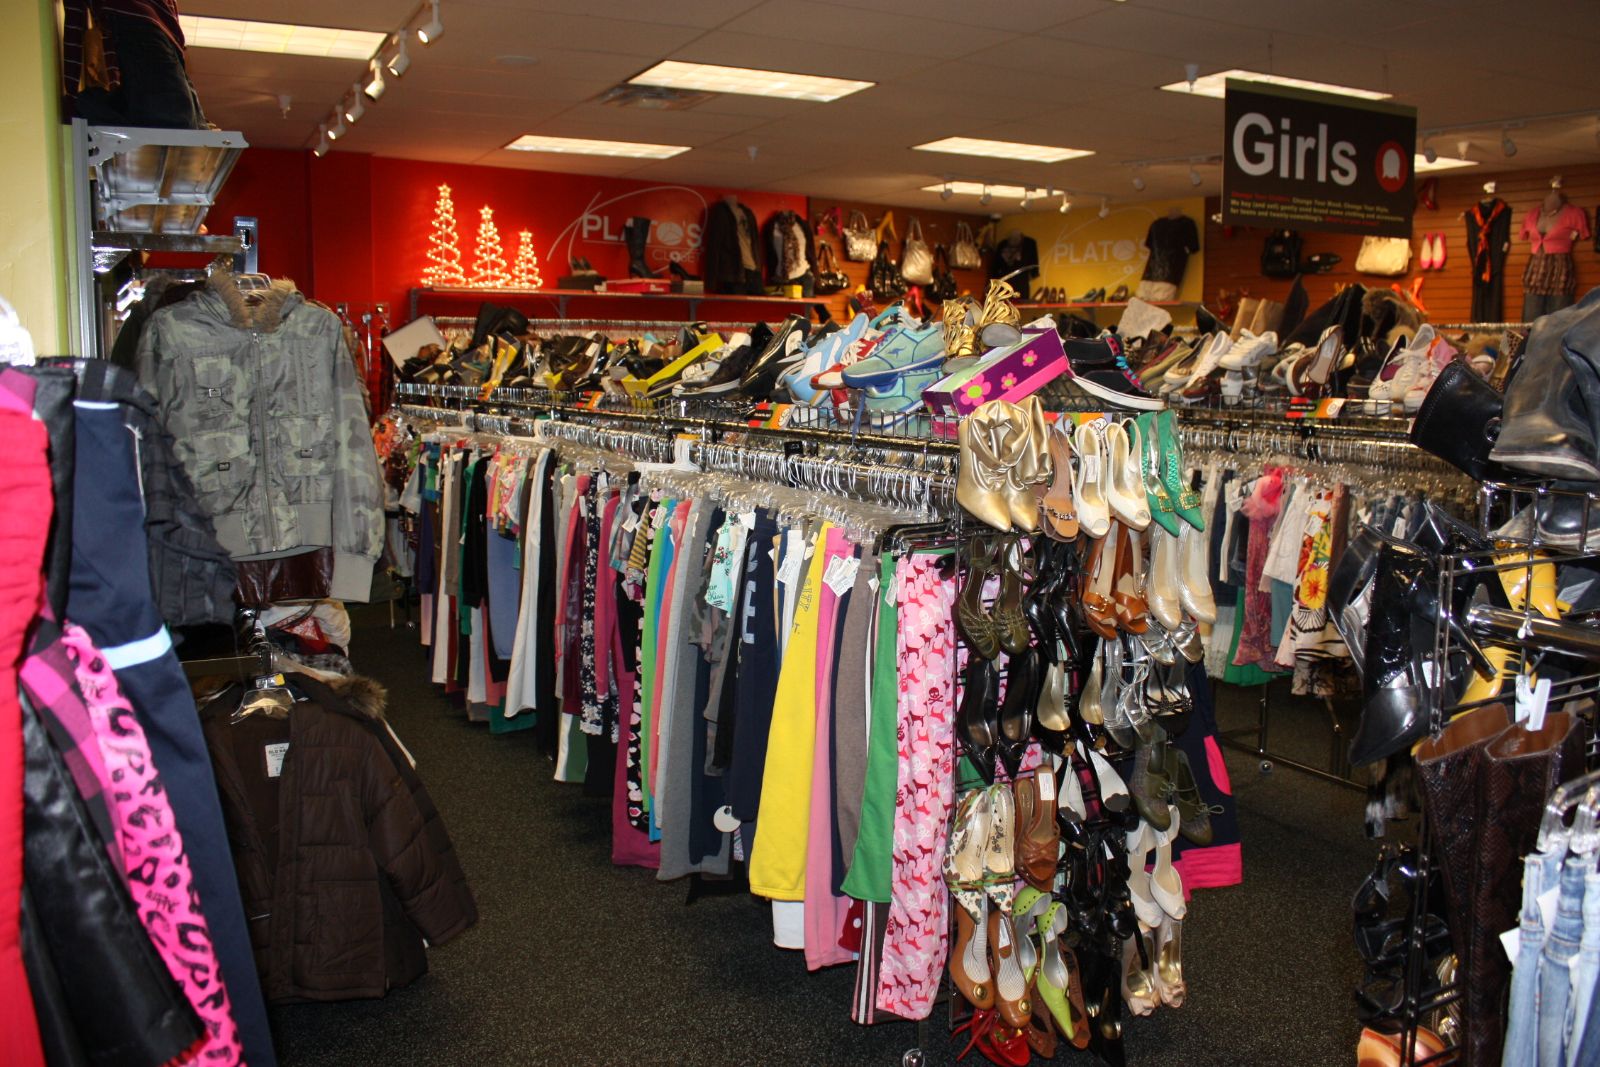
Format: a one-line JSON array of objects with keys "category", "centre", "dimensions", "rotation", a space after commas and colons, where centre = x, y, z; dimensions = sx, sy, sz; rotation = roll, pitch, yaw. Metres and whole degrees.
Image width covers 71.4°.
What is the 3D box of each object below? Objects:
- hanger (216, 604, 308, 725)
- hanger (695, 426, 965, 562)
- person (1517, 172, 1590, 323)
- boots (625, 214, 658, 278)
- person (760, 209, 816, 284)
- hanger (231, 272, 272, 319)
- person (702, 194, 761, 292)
[{"category": "hanger", "centre": [-1.653, 0.392, 3.446], "dimensions": [0.265, 0.388, 0.271], "rotation": [1, 7, -1]}, {"category": "hanger", "centre": [0.106, -0.190, 3.767], "dimensions": [0.329, 0.449, 1.224], "rotation": [-2, 9, -39]}, {"category": "person", "centre": [6.479, -2.455, 9.546], "dimensions": [0.460, 1.151, 0.628], "rotation": [6, 13, 28]}, {"category": "boots", "centre": [-1.670, -2.903, 11.298], "dimensions": [0.296, 0.589, 0.549], "rotation": [-2, 12, -9]}, {"category": "person", "centre": [-0.139, -3.127, 12.245], "dimensions": [0.658, 0.798, 0.286], "rotation": [-5, 13, -22]}, {"category": "hanger", "centre": [-1.823, -0.798, 3.692], "dimensions": [0.101, 0.056, 0.179], "rotation": [9, 30, -15]}, {"category": "person", "centre": [-0.685, -3.091, 11.773], "dimensions": [0.539, 1.037, 0.344], "rotation": [-6, 36, -5]}]
